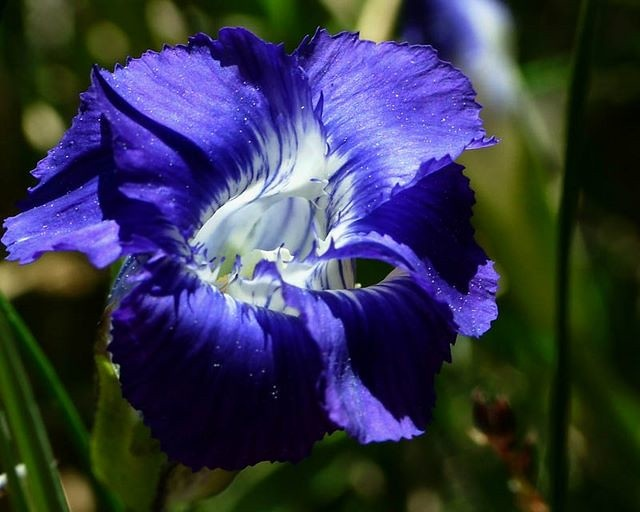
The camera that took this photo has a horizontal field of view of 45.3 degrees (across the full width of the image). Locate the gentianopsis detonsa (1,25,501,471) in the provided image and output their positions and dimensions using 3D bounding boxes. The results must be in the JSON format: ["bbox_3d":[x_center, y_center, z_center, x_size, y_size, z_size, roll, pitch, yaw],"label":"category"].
[{"bbox_3d":[-0.045,-0.027,0.824,0.510,0.403,0.343,-22,28,-34],"label":"gentianopsis detonsa"}]
